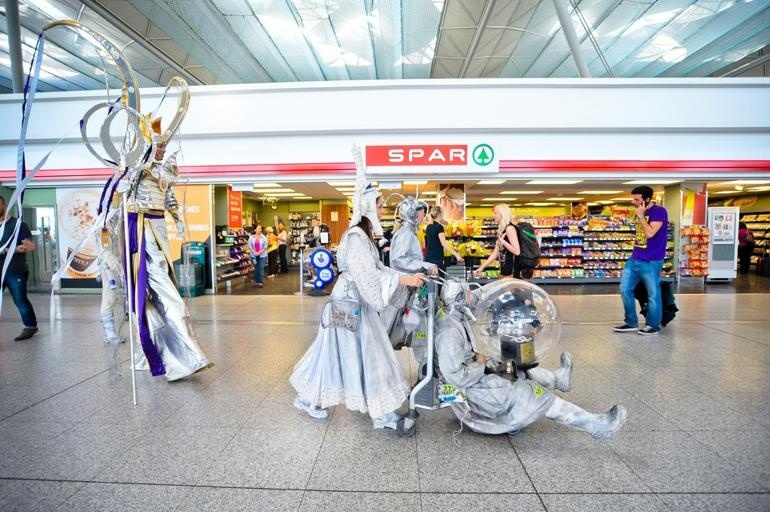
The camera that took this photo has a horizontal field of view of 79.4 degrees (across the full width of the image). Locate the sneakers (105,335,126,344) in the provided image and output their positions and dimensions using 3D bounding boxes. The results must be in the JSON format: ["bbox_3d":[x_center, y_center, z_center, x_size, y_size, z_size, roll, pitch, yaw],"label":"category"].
[{"bbox_3d":[-3.828,1.191,6.577,0.262,0.105,0.110,1,0,-12],"label":"sneakers"}]

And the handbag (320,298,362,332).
[{"bbox_3d":[-0.412,0.546,4.476,0.386,0.315,0.309,0,17,9],"label":"handbag"}]

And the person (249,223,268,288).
[{"bbox_3d":[-3.472,-0.058,12.655,0.433,1.629,1.570,-1,3,-16],"label":"person"}]

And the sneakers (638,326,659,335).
[{"bbox_3d":[3.968,1.109,6.879,0.368,0.139,0.133,1,0,0],"label":"sneakers"}]

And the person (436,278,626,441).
[{"bbox_3d":[1.188,0.950,4.889,2.006,1.405,1.164,1,-1,1],"label":"person"}]

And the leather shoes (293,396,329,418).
[{"bbox_3d":[-0.755,1.557,4.777,0.387,0.167,0.150,8,9,23],"label":"leather shoes"}]

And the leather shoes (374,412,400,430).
[{"bbox_3d":[0.030,1.597,4.512,0.284,0.130,0.131,-3,12,0],"label":"leather shoes"}]

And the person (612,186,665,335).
[{"bbox_3d":[3.899,0.046,6.982,0.643,2.177,0.623,1,3,27],"label":"person"}]

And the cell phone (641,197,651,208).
[{"bbox_3d":[3.864,-0.778,6.777,0.157,0.141,0.064,-2,4,-30],"label":"cell phone"}]

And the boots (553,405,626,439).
[{"bbox_3d":[1.873,1.530,4.229,0.629,0.266,0.201,15,-8,12],"label":"boots"}]

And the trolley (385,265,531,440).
[{"bbox_3d":[0.926,0.959,4.684,1.554,1.540,1.269,-3,7,-22],"label":"trolley"}]

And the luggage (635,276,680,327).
[{"bbox_3d":[4.216,0.680,7.113,0.731,0.712,0.296,1,2,39],"label":"luggage"}]

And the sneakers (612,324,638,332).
[{"bbox_3d":[3.651,1.108,7.056,0.389,0.147,0.139,1,-5,5],"label":"sneakers"}]

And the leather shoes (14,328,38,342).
[{"bbox_3d":[-5.272,1.152,6.782,0.122,0.137,0.352,-1,-5,-2],"label":"leather shoes"}]
